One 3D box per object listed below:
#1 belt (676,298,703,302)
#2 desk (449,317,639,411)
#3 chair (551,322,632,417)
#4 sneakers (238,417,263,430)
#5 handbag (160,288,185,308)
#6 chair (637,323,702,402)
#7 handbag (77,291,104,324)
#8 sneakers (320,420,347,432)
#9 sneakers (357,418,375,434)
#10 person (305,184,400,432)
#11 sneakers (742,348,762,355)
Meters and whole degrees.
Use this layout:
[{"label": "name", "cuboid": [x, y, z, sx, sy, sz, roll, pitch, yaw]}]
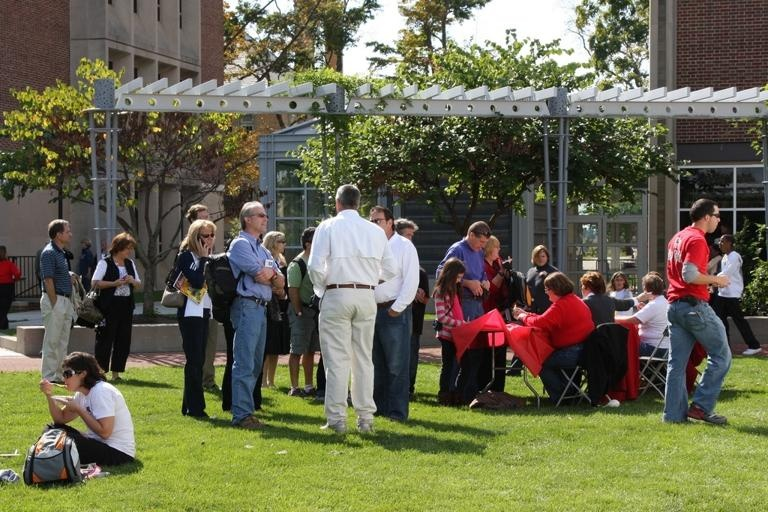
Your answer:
[{"label": "belt", "cuboid": [5.292, 0.753, 23.039, 0.366, 0.107, 0.054, -1, -2, 11]}, {"label": "desk", "cuboid": [3.508, 1.935, 24.248, 2.171, 2.232, 2.214, 2, -6, 7]}, {"label": "chair", "cuboid": [3.879, 2.005, 24.725, 1.505, 1.538, 1.431, -1, -2, 29]}, {"label": "sneakers", "cuboid": [-2.269, 2.854, 22.840, 0.358, 0.168, 0.204, -6, -6, 22]}, {"label": "handbag", "cuboid": [-3.700, 0.732, 23.527, 0.473, 0.471, 0.175, 0, -13, 7]}, {"label": "chair", "cuboid": [5.520, 2.102, 25.109, 1.033, 1.784, 1.272, 1, 1, -20]}, {"label": "handbag", "cuboid": [-5.628, 1.013, 25.730, 0.443, 0.535, 0.252, 17, -12, -10]}, {"label": "sneakers", "cuboid": [-0.879, 2.906, 22.859, 0.481, 0.217, 0.180, 3, -2, 30]}, {"label": "sneakers", "cuboid": [-0.305, 2.896, 22.775, 0.175, 0.301, 0.293, 1, -11, -5]}, {"label": "person", "cuboid": [-0.613, 0.888, 22.772, 1.183, 4.182, 0.390, -1, -2, -2]}, {"label": "sneakers", "cuboid": [7.871, 2.035, 28.453, 0.434, 0.179, 0.162, 1, -5, -13]}]
